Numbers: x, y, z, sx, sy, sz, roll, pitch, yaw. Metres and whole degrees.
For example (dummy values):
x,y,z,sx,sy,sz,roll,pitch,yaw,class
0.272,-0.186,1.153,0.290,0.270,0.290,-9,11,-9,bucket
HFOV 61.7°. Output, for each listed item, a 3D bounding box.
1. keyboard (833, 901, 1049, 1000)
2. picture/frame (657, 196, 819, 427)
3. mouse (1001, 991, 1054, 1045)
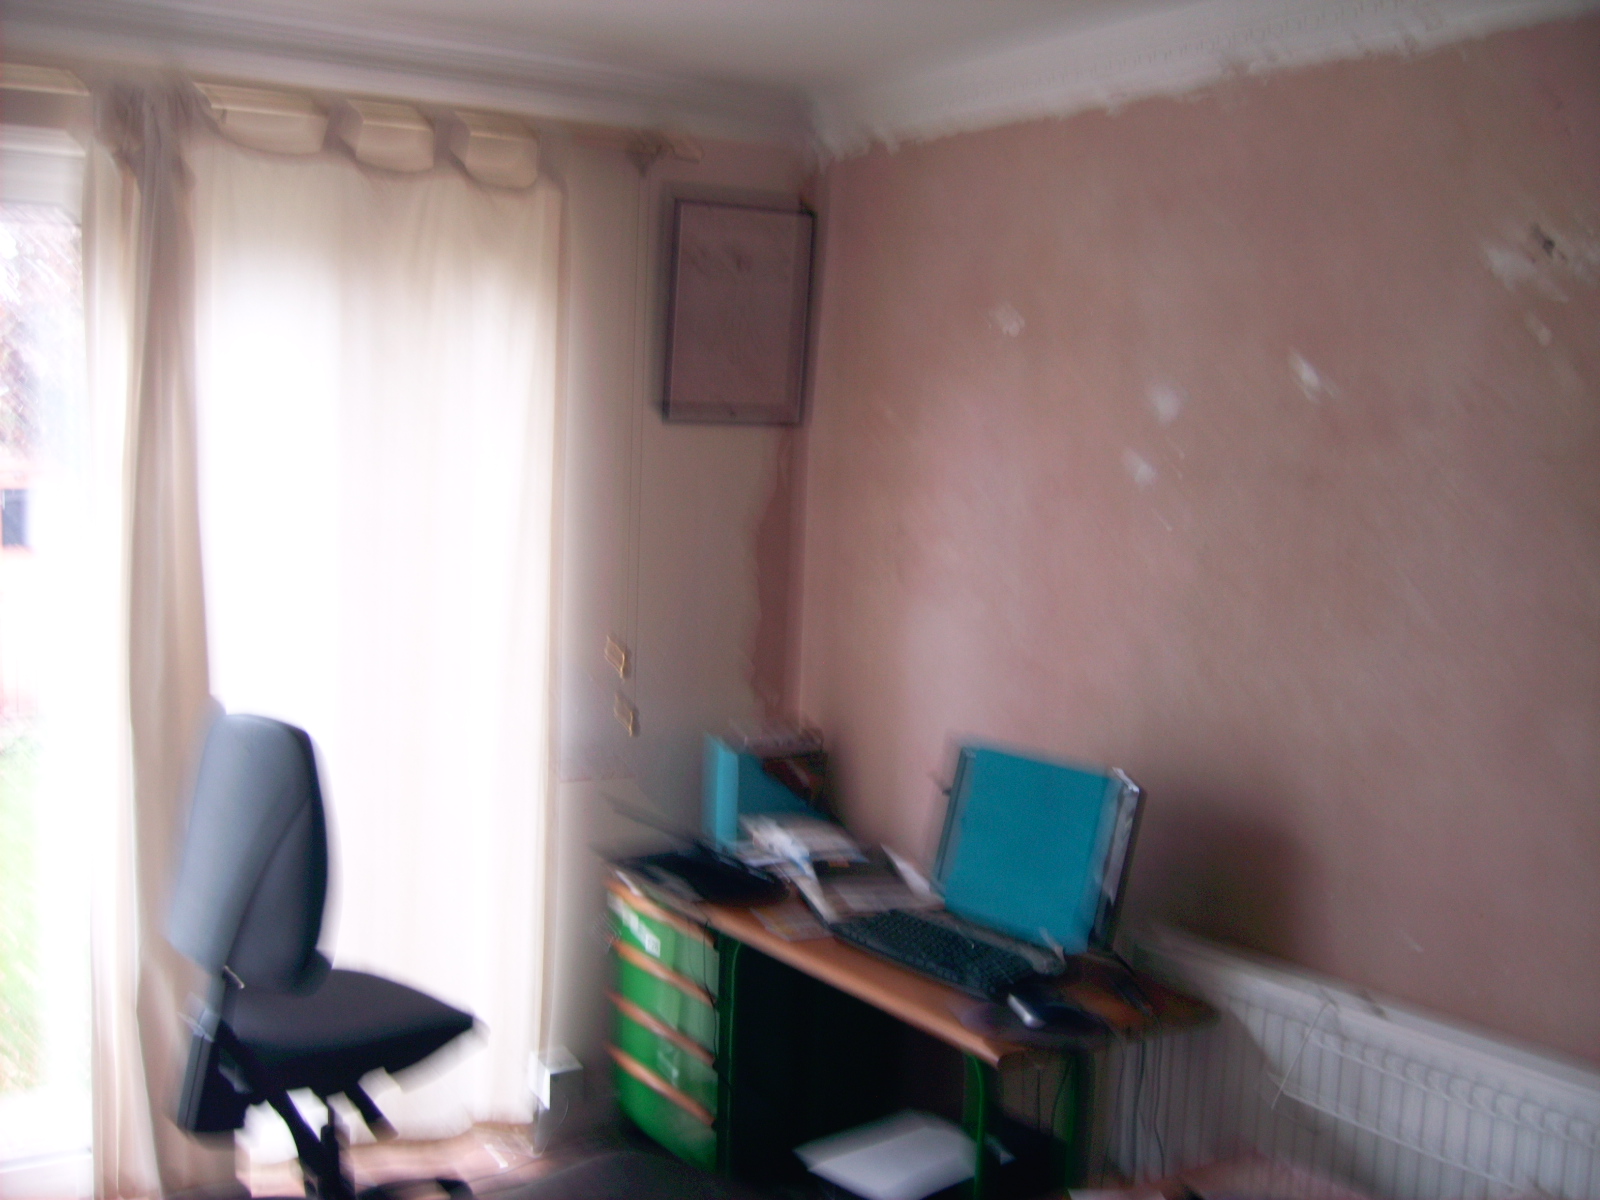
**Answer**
x,y,z,sx,sy,sz,roll,pitch,yaw,class
0.309,0.743,2.856,0.219,0.074,0.501,-3,4,-44,keyboard
-0.192,-0.837,3.754,0.414,0.611,0.058,0,-1,-27,picture/frame
0.443,0.794,2.581,0.069,0.056,0.119,-1,3,-8,mouse
